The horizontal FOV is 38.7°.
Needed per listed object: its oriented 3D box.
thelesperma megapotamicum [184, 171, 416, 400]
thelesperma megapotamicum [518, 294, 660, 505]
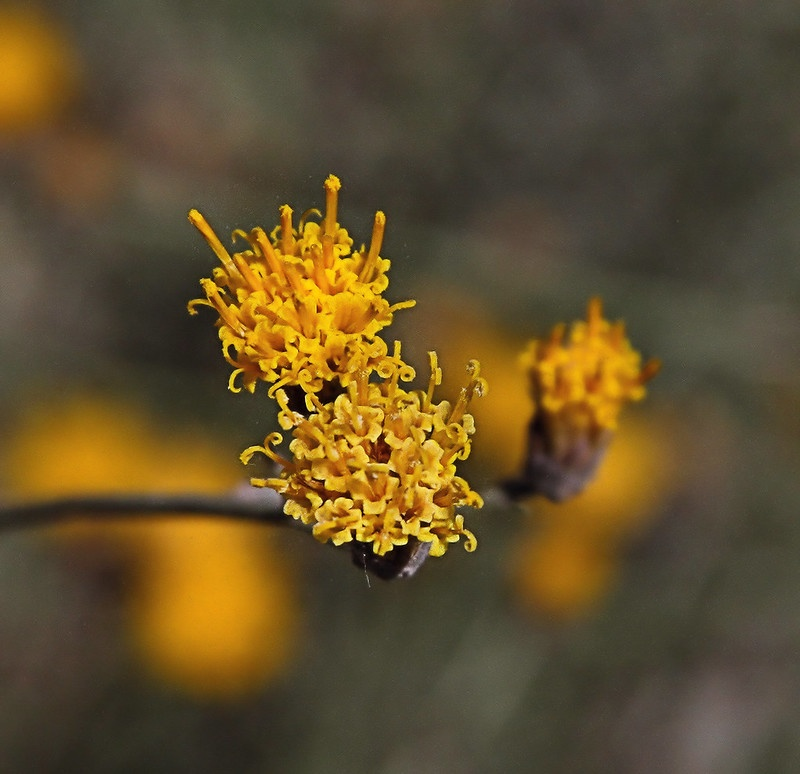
[{"bbox_3d":[-0.157,-0.123,1.702,0.335,0.225,0.313,26,66,-1],"label":"thelesperma megapotamicum"},{"bbox_3d":[0.319,0.042,1.685,0.235,0.233,0.302,5,106,24],"label":"thelesperma megapotamicum"}]
